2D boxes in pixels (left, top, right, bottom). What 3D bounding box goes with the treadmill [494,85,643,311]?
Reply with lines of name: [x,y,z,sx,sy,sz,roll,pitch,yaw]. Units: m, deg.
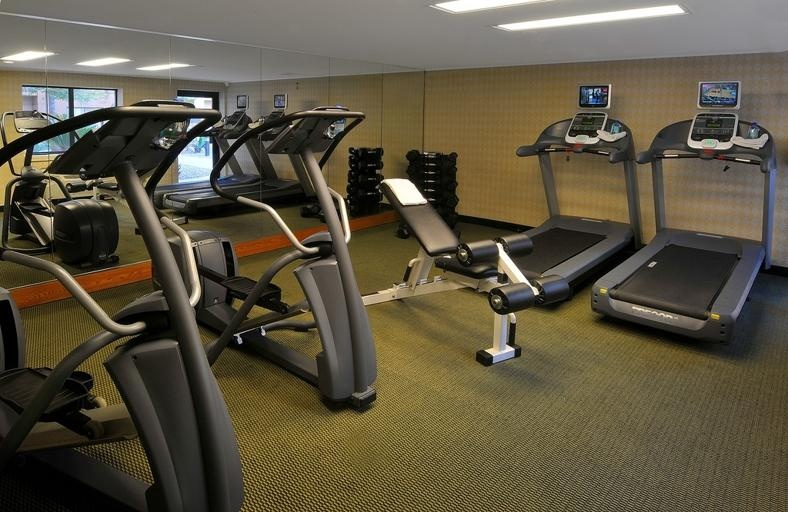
treadmill: [1.293,-0.915,6.630,2.950,2.580,1.579,-21,24,-40]

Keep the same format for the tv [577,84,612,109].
tv: [2.593,-2.053,6.923,0.374,0.255,0.054,11,14,37]

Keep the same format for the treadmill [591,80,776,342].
treadmill: [3.298,-0.645,5.756,1.796,2.853,3.289,11,24,40]

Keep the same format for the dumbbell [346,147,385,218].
dumbbell: [-0.429,-1.122,7.979,0.478,1.106,0.519,-13,23,-41]

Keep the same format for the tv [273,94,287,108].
tv: [-1.380,-1.886,6.534,0.181,0.170,0.061,-9,15,-42]

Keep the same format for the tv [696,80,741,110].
tv: [3.708,-1.836,6.130,0.364,0.258,0.095,13,22,33]
